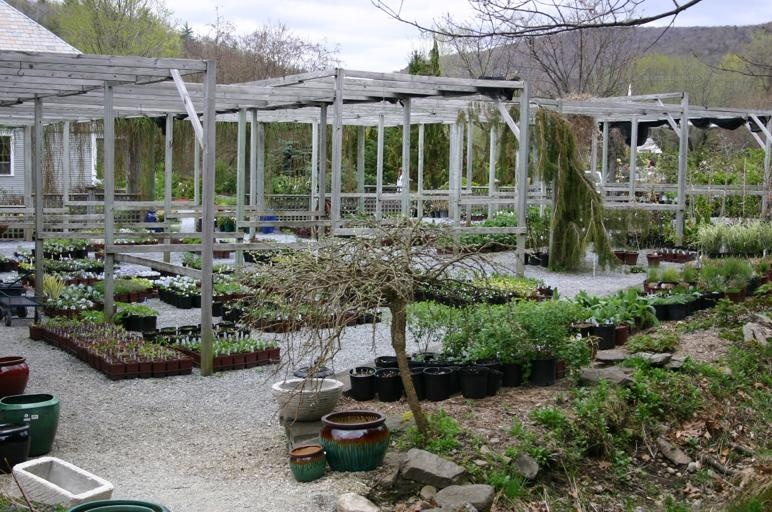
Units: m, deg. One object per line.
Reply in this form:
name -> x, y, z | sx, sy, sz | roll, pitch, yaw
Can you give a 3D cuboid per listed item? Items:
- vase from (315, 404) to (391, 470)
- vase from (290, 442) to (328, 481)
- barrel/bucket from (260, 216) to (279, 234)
vase -> -0.338, 1.867, 7.574 | 0.637, 0.406, 0.565 | -1, 5, -5
vase -> -0.795, 2.109, 7.479 | 0.394, 0.273, 0.382 | -7, 3, -4
barrel/bucket -> -3.039, -0.820, 19.016 | 0.572, 0.586, 0.553 | 0, 6, 0
